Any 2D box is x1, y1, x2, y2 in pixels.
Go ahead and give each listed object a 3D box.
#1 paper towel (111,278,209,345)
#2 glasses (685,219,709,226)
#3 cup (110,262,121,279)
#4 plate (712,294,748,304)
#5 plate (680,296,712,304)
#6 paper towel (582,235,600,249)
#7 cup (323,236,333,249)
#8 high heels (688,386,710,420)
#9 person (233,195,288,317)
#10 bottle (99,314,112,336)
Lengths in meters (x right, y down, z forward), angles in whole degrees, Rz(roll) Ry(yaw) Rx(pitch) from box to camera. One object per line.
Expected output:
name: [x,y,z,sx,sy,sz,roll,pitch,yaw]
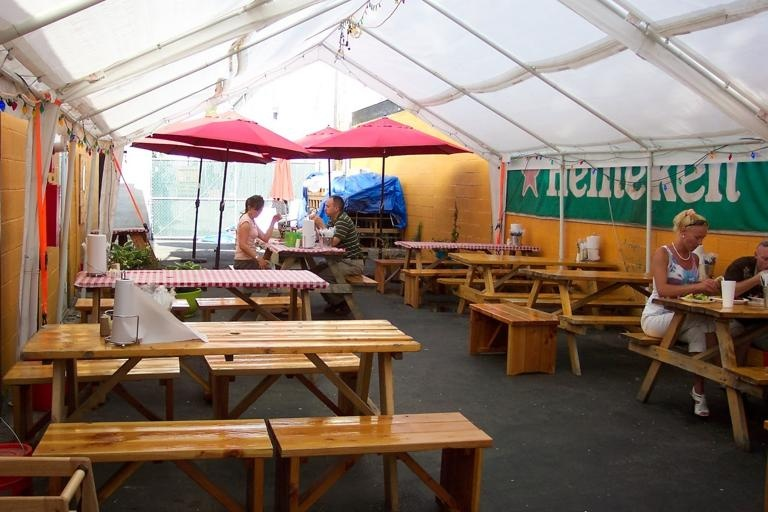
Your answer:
paper towel: [-1.731,0.452,4.049,0.335,0.434,0.778,-5,-10,30]
glasses: [3.470,-0.362,5.985,0.211,0.085,0.131,1,3,24]
cup: [-2.500,0.143,4.959,0.108,0.154,0.105,2,10,0]
plate: [3.541,0.474,5.548,0.236,0.056,0.215,0,9,-9]
plate: [3.296,0.455,5.636,0.164,0.047,0.137,0,2,-14]
paper towel: [3.668,-0.242,9.628,0.268,0.271,0.260,-3,6,-23]
cup: [-0.980,-0.211,9.196,0.198,0.130,0.171,-1,3,-14]
high heels: [3.304,1.568,5.631,0.123,0.136,0.351,0,9,2]
person: [-2.219,-0.094,8.981,0.799,1.724,0.908,7,12,17]
bottle: [-2.088,0.520,4.004,0.068,0.177,0.136,-2,3,-33]
